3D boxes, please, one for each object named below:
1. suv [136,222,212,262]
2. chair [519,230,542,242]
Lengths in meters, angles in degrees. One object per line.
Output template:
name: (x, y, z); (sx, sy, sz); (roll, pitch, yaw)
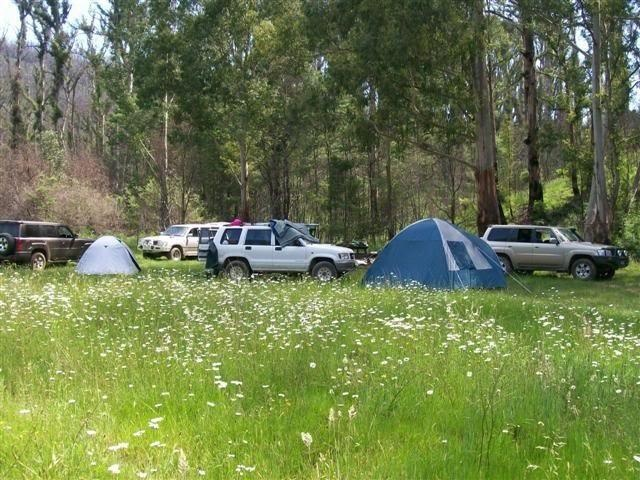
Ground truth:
suv: (-8.125, 0.219, 40.677); (1.858, 1.788, 3.565); (0, -2, 30)
chair: (8.920, -0.166, 31.788); (0.518, 0.469, 0.592); (2, 4, -4)
